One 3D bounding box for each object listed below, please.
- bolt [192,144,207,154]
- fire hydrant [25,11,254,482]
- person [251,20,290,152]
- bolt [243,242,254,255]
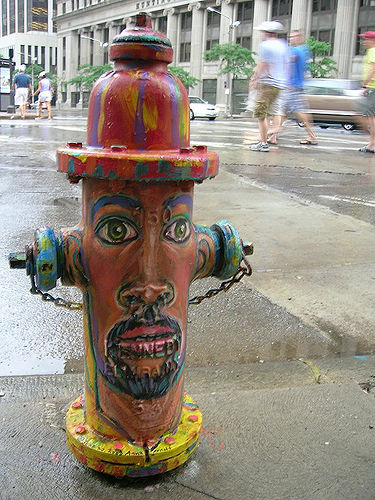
[{"bbox_3d":[0.036,-0.263,1.266,0.040,0.017,0.043,1,-3,0],"label":"bolt"},{"bbox_3d":[-0.118,-0.005,1.395,0.785,1.209,0.485,-2,13,-9],"label":"fire hydrant"},{"bbox_3d":[1.532,-2.997,9.102,0.642,2.309,1.382,4,12,10],"label":"person"},{"bbox_3d":[0.189,-0.005,1.548,0.038,0.042,0.038,-7,14,-25],"label":"bolt"}]
